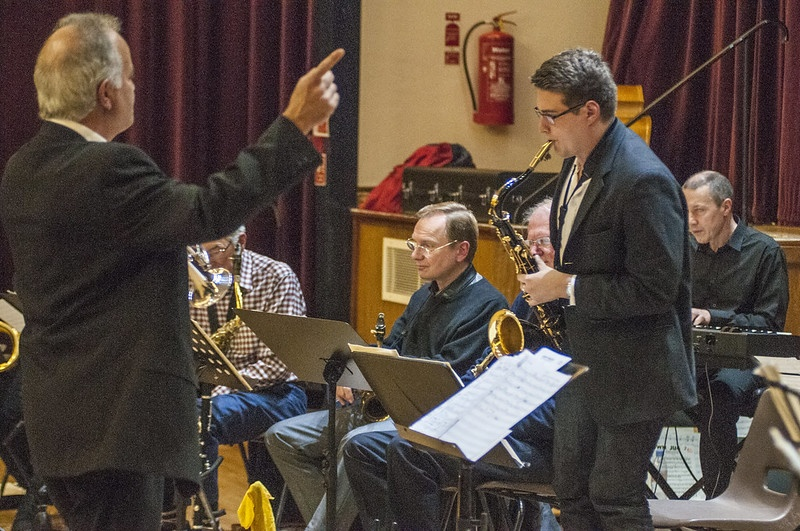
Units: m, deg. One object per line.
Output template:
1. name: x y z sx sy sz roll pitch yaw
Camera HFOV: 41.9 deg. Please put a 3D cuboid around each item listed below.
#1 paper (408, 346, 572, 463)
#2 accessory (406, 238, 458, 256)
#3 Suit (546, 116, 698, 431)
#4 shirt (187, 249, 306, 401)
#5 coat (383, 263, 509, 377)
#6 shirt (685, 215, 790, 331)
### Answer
1. paper: 0.312 0.432 3.349 0.491 0.115 0.313 -40 26 -16
2. accessory: 0.131 -0.088 4.772 0.262 0.071 0.113 -1 1 43
3. Suit: 0.815 0.012 3.855 0.519 1.114 0.308 -1 1 16
4. shirt: -0.689 0.269 4.607 0.690 0.695 0.451 -3 -4 33
5. coat: 0.226 0.237 4.591 0.251 0.457 0.451 24 -10 -21
6. shirt: 1.648 0.048 5.086 0.411 0.522 0.538 -1 5 -31
